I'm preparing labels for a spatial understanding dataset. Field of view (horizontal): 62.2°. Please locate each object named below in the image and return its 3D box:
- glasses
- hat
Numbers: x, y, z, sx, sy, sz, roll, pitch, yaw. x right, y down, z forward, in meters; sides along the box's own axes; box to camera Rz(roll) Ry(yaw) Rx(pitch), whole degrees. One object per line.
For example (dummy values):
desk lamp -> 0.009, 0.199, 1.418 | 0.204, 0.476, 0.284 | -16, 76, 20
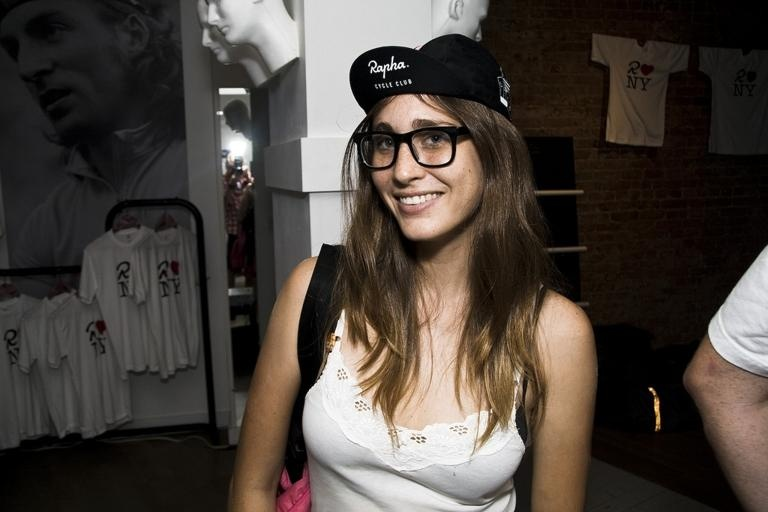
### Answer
glasses -> 0.096, -0.395, 2.305 | 0.421, 0.152, 0.103 | -1, 13, 6
hat -> 0.166, -0.654, 2.336 | 0.587, 0.306, 0.197 | -3, 13, -4
